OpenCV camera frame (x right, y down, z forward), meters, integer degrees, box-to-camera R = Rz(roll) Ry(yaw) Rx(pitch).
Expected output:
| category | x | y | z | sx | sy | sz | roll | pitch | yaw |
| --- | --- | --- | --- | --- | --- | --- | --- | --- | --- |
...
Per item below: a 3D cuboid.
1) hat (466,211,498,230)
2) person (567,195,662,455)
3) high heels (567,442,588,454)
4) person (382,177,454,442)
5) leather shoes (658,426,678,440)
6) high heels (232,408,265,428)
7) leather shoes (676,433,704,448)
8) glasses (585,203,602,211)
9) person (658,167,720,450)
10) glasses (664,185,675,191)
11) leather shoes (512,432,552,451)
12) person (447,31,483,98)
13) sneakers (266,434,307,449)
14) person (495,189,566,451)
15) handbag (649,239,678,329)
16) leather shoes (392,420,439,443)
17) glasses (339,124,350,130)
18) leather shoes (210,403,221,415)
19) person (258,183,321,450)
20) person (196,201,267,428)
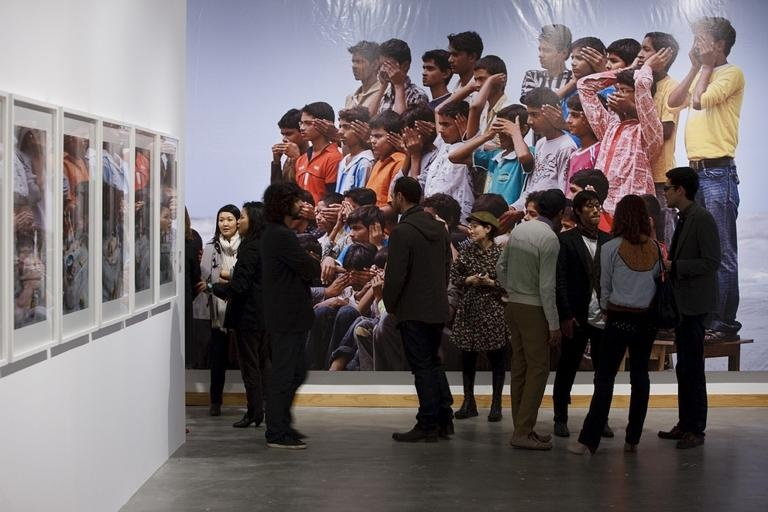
| category | x | y | z | sx | sy | sz | roll | pitch | yaw |
| --- | --- | --- | --- | --- | --- | --- | --- | --- | --- |
| hat | 0.946 | -0.353 | 5.780 | 0.219 | 0.075 | 0.172 | 15 | -7 | -2 |
| person | 1.859 | 0.555 | 4.806 | 0.637 | 2.072 | 0.315 | 0 | 0 | 20 |
| high heels | 1.568 | 1.551 | 4.908 | 0.167 | 0.080 | 0.092 | 6 | 9 | 8 |
| person | 0.298 | 0.465 | 5.188 | 0.622 | 2.263 | 0.330 | 0 | 0 | -6 |
| leather shoes | 2.458 | 1.566 | 5.401 | 0.248 | 0.100 | 0.082 | 1 | -4 | 19 |
| high heels | -1.243 | 1.529 | 5.759 | 0.385 | 0.175 | 0.124 | 2 | -3 | -4 |
| leather shoes | 2.535 | 1.542 | 5.112 | 0.267 | 0.099 | 0.100 | 0 | 2 | -22 |
| glasses | 1.776 | -0.424 | 5.206 | 0.121 | 0.054 | 0.148 | -2 | -4 | 6 |
| person | 2.558 | 0.434 | 5.094 | 0.394 | 2.347 | 0.455 | 0 | 0 | 25 |
| glasses | 2.415 | -0.583 | 5.171 | 0.053 | 0.016 | 0.050 | 19 | -16 | -40 |
| leather shoes | 1.211 | 1.533 | 5.012 | 0.239 | 0.088 | 0.150 | -2 | 0 | 3 |
| person | 0.807 | -2.158 | 6.856 | 0.496 | 0.766 | 0.516 | 2 | 7 | 2 |
| sneakers | -0.791 | 1.541 | 5.014 | 0.322 | 0.119 | 0.123 | 0 | -3 | 2 |
| person | 1.229 | 0.525 | 5.009 | 0.446 | 2.131 | 0.354 | 0 | 0 | 19 |
| handbag | 2.204 | 0.229 | 4.789 | 0.191 | 0.675 | 0.352 | 0 | 0 | 25 |
| leather shoes | 0.278 | 1.534 | 5.303 | 0.437 | 0.173 | 0.152 | 2 | -8 | 8 |
| glasses | -0.435 | -1.396 | 6.567 | 0.064 | 0.041 | 0.082 | -2 | 0 | 16 |
| leather shoes | -1.688 | 1.555 | 6.165 | 0.088 | 0.115 | 0.119 | 1 | 3 | 4 |
| person | -0.776 | 0.481 | 5.029 | 0.487 | 2.214 | 0.293 | 0 | 0 | -3 |
| person | -1.383 | 0.546 | 5.718 | 0.559 | 2.102 | 0.758 | 0 | 0 | -11 |
